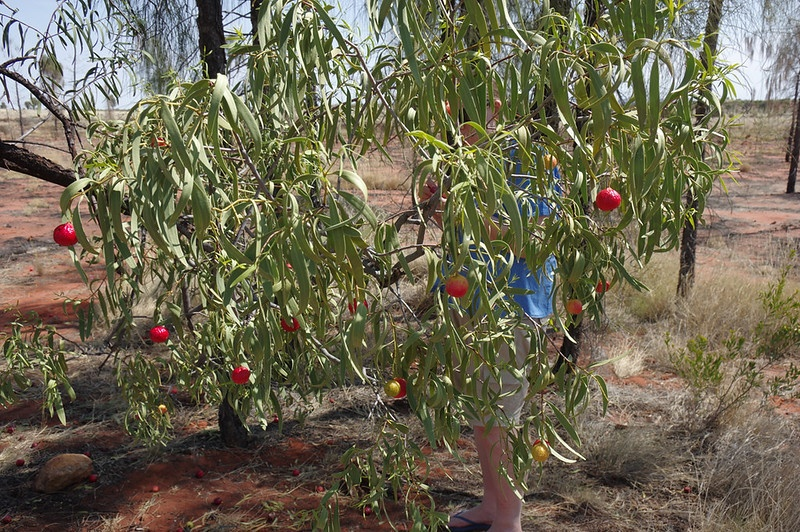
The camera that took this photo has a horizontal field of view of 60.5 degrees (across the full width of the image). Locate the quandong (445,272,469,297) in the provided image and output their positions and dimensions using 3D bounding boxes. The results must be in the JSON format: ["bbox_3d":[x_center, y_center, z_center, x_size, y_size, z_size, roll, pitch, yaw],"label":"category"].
[{"bbox_3d":[0.209,0.065,2.438,0.064,0.102,0.075,0,7,-5],"label":"quandong"}]

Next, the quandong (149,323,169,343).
[{"bbox_3d":[-1.004,0.287,2.886,0.082,0.103,0.085,2,-3,41],"label":"quandong"}]

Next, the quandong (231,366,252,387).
[{"bbox_3d":[-0.659,0.455,2.806,0.070,0.103,0.072,4,0,44],"label":"quandong"}]

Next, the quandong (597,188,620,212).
[{"bbox_3d":[0.792,-0.252,2.602,0.088,0.085,0.155,5,14,16],"label":"quandong"}]
